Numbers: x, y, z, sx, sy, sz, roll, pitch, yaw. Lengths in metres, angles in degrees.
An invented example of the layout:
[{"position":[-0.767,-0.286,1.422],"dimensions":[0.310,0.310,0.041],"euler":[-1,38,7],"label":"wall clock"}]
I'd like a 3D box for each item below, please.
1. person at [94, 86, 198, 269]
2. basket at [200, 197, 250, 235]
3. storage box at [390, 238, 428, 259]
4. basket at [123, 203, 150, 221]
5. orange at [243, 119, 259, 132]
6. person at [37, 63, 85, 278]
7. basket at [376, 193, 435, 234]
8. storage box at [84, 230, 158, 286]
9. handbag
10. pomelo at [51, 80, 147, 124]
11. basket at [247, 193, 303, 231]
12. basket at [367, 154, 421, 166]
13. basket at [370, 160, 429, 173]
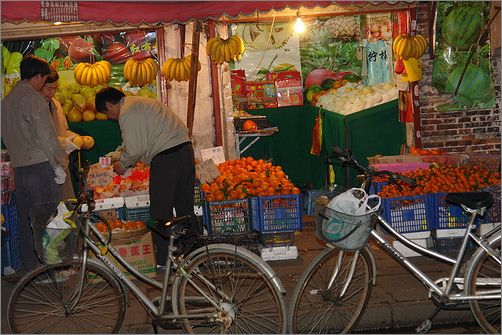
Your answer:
[{"position":[-1.245,0.014,6.277],"dimensions":[1.229,2.475,0.975],"euler":[-1,4,15],"label":"person"},{"position":[-0.294,0.689,6.337],"dimensions":[0.766,0.536,0.443],"euler":[-3,-6,-7],"label":"basket"},{"position":[2.180,1.143,6.400],"dimensions":[0.471,0.292,0.473],"euler":[0,-2,-2],"label":"storage box"},{"position":[-1.643,0.670,6.709],"dimensions":[0.419,0.279,0.228],"euler":[0,-6,-23],"label":"basket"},{"position":[-0.003,-0.813,9.091],"dimensions":[0.223,0.196,0.209],"euler":[-18,23,-14],"label":"orange"},{"position":[-3.013,-0.032,7.105],"dimensions":[0.918,3.018,0.780],"euler":[-6,16,-29],"label":"person"},{"position":[2.174,0.593,6.639],"dimensions":[0.699,0.453,0.702],"euler":[-5,5,-3],"label":"basket"},{"position":[-1.748,1.083,6.270],"dimensions":[0.694,0.728,0.944],"euler":[3,16,-13],"label":"storage box"},{"position":[-2.010,0.663,4.824],"dimensions":[0.367,0.665,0.502],"euler":[4,3,-31],"label":"handbag"},{"position":[-2.509,-1.038,7.523],"dimensions":[0.959,0.652,1.187],"euler":[15,31,26],"label":"pomelo"},{"position":[0.339,0.667,6.606],"dimensions":[0.762,0.462,0.759],"euler":[-1,-8,-18],"label":"basket"},{"position":[2.369,-0.134,7.676],"dimensions":[0.450,0.112,0.453],"euler":[-3,3,-23],"label":"basket"},{"position":[2.298,-0.007,6.995],"dimensions":[0.671,0.244,0.491],"euler":[-1,4,-6],"label":"basket"}]
